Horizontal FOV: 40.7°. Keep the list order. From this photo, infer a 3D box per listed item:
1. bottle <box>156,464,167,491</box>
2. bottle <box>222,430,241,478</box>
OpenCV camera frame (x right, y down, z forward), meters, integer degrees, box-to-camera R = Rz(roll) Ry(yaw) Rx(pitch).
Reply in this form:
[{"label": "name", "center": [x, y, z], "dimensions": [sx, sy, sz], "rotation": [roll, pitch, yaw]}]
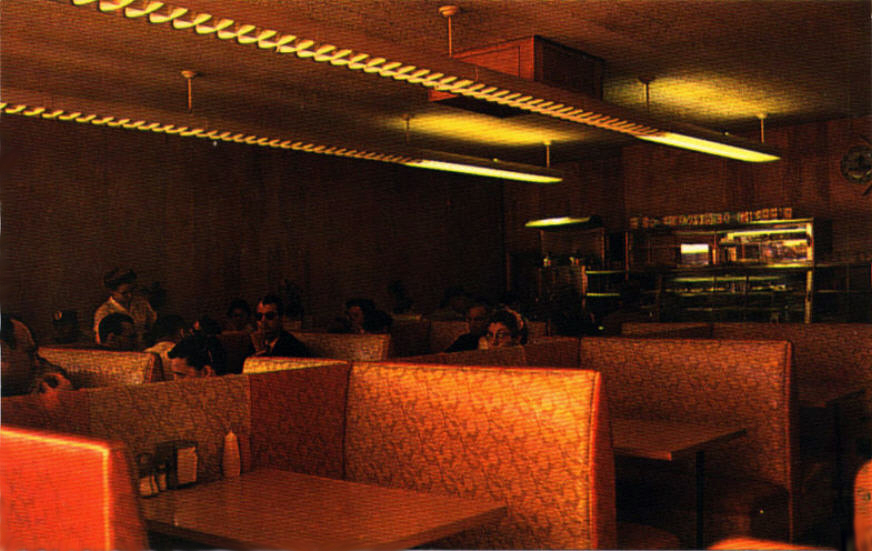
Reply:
[{"label": "bottle", "center": [-0.716, 0.536, 3.106], "dimensions": [0.015, 0.069, 0.038], "rotation": [-1, 3, 21]}, {"label": "bottle", "center": [-0.573, 0.506, 3.334], "dimensions": [0.051, 0.124, 0.108], "rotation": [-2, 3, -7]}]
